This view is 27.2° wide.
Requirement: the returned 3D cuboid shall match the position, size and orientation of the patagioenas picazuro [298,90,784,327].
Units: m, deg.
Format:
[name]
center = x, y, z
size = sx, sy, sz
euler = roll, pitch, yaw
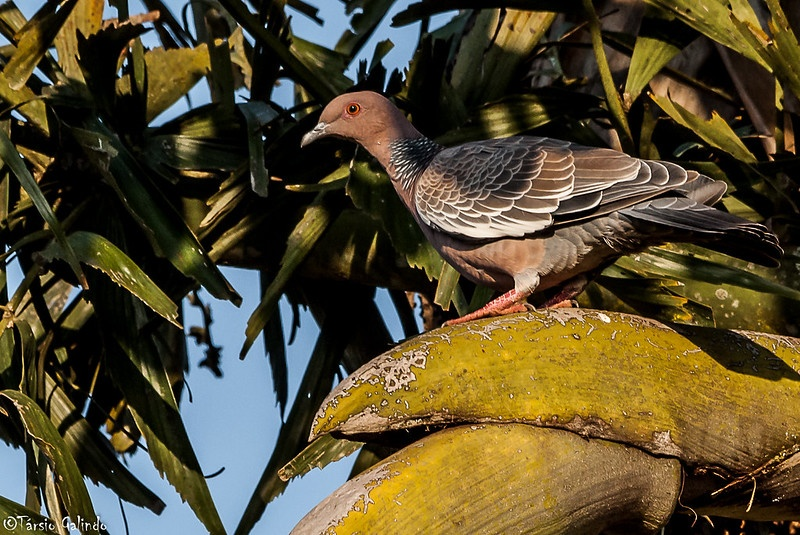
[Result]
[patagioenas picazuro]
center = 0.518, -0.354, 7.531
size = 1.885, 1.186, 0.640
euler = -9, -7, 11
